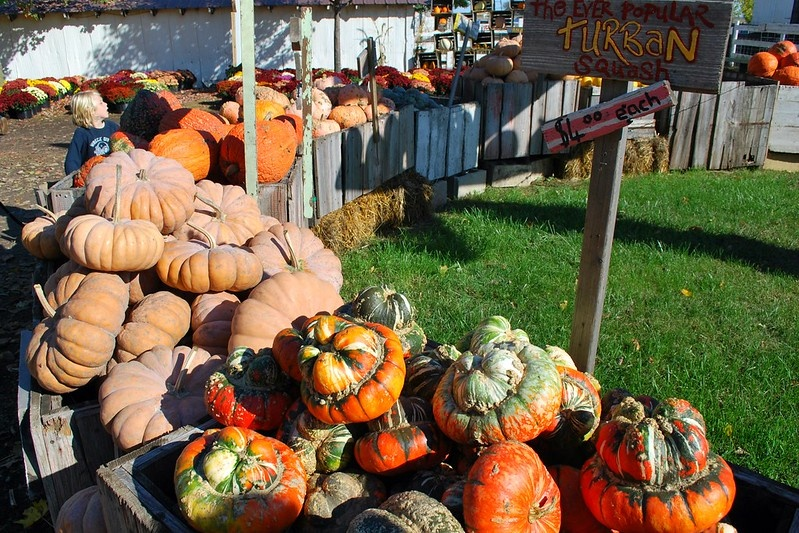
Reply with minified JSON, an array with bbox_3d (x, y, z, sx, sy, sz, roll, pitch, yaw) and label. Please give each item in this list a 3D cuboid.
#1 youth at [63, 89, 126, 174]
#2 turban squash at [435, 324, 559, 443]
[{"bbox_3d":[-3.701,-1.601,6.952,0.599,1.002,0.766,-9,20,-38],"label":"youth"},{"bbox_3d":[0.524,0.720,3.229,0.562,0.253,0.603,-2,54,16],"label":"turban squash"}]
